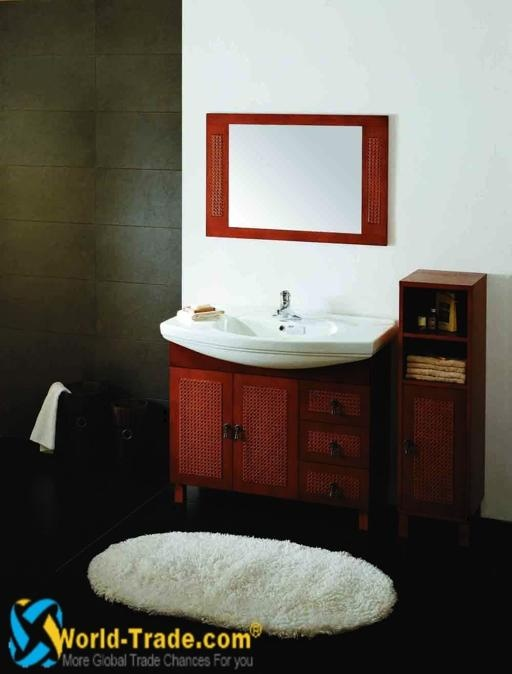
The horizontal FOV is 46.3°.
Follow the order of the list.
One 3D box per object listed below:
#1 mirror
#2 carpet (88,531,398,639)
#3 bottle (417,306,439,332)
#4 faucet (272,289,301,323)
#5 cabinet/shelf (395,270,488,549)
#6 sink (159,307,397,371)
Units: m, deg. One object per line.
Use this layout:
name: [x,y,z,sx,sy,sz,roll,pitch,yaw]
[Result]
mirror: [0.198,-0.667,2.484,0.541,0.397,0.021,3,9,17]
carpet: [-0.064,0.753,1.882,0.979,0.026,0.555,2,5,16]
bottle: [0.620,-0.059,2.204,0.093,0.100,0.059,5,9,31]
faucet: [0.121,-0.129,2.414,0.109,0.131,0.117,2,12,5]
cabinet/shelf: [0.683,0.246,2.211,0.308,0.988,0.428,2,4,22]
sink: [0.076,0.006,2.339,0.852,0.202,0.559,3,5,25]
